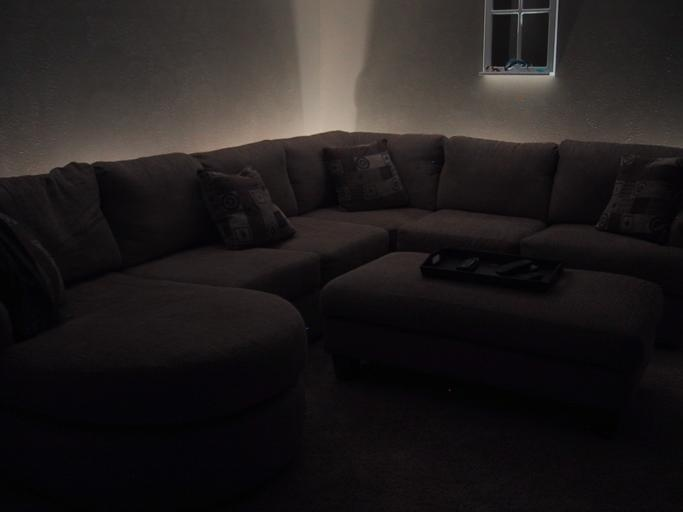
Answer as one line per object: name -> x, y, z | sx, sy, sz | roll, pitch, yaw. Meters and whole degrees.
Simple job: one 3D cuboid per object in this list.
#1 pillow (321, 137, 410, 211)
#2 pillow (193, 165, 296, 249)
pillow -> 0.179, -0.610, 4.017 | 0.569, 0.567, 0.186 | -16, -5, -18
pillow -> -0.609, -0.319, 3.103 | 0.510, 0.514, 0.151 | -19, -10, -48
